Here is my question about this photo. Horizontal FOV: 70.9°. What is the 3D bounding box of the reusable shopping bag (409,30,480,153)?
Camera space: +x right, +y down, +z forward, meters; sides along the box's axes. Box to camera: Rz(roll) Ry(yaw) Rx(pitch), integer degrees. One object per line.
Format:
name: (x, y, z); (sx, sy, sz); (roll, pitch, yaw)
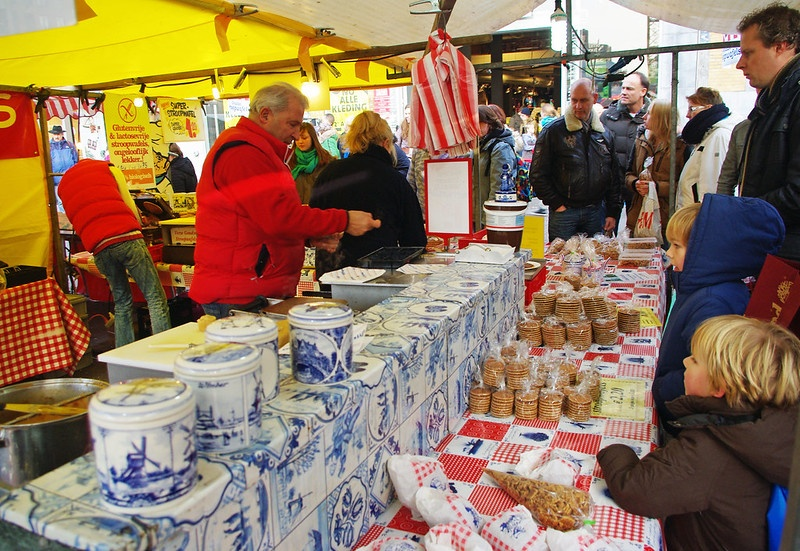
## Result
reusable shopping bag: (0.262, -1.136, 3.525); (0.448, 0.755, 0.231); (-3, 15, 1)

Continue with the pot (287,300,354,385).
pot: (-0.223, 0.187, 1.706); (0.231, 0.237, 0.222); (0, 10, 0)

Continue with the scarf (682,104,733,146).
scarf: (2.564, -1.288, 4.765); (0.384, 0.185, 0.326); (-29, 26, 34)

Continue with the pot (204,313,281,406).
pot: (-0.410, 0.207, 1.579); (0.236, 0.244, 0.226); (0, 7, 0)

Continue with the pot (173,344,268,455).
pot: (-0.460, 0.291, 1.552); (0.257, 0.269, 0.257); (1, 11, 0)

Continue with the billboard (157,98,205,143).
billboard: (-3.050, -2.136, 7.720); (0.036, 0.450, 0.654); (-2, 16, 26)

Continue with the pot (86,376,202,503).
pot: (-0.542, 0.357, 1.362); (0.265, 0.276, 0.253); (2, 15, -1)

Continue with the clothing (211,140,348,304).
clothing: (-0.622, -0.285, 3.070); (0.904, 0.906, 0.802); (2, 15, -6)

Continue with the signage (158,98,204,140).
signage: (-3.019, -2.150, 7.756); (0.028, 0.576, 0.839); (5, 18, 21)

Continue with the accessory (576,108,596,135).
accessory: (1.830, -1.495, 5.433); (0.260, 0.210, 0.092); (-13, 18, -35)

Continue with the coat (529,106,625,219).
coat: (1.785, -1.094, 5.650); (0.916, 1.075, 0.416); (0, 15, 10)

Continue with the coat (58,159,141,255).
coat: (-2.627, -0.608, 4.882); (0.567, 0.797, 0.408); (-11, 17, -28)

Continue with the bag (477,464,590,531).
bag: (0.434, 0.738, 1.878); (0.378, 0.095, 0.146); (5, 17, 29)
